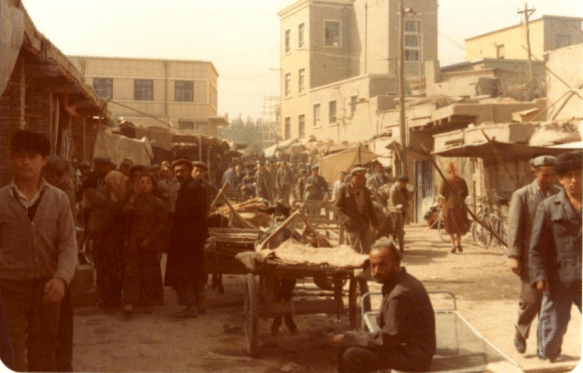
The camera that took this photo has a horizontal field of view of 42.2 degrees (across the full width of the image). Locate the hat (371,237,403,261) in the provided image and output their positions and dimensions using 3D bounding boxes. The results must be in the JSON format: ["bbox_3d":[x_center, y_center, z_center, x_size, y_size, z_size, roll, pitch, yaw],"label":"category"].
[{"bbox_3d":[1.273,0.803,10.073,0.338,0.252,0.404,2,0,-1],"label":"hat"}]

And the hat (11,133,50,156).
[{"bbox_3d":[-3.376,-0.561,9.782,0.356,0.236,0.347,2,5,5],"label":"hat"}]

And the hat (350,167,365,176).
[{"bbox_3d":[1.298,-0.307,14.604,0.240,0.086,0.273,0,-3,-5],"label":"hat"}]
